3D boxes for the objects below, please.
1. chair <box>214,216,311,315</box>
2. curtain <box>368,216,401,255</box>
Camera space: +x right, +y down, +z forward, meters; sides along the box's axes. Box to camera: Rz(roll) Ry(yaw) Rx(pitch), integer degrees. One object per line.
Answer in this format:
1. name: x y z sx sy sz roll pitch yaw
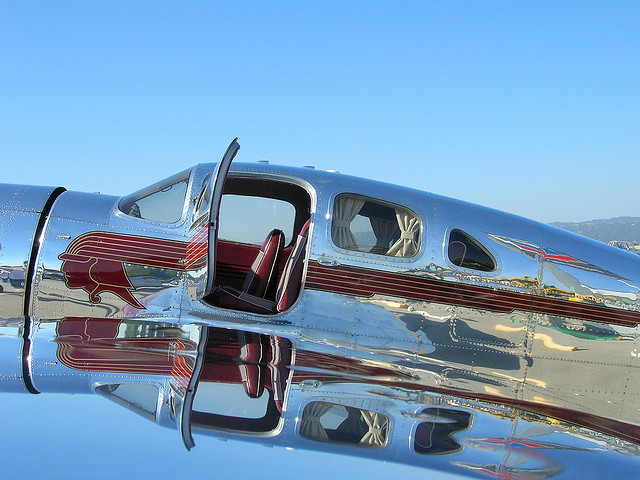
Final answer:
1. chair: -0.673 0.342 7.519 1.264 1.130 0.920 4 0 4
2. curtain: 0.759 -0.034 7.175 0.504 0.417 0.061 12 -38 7
